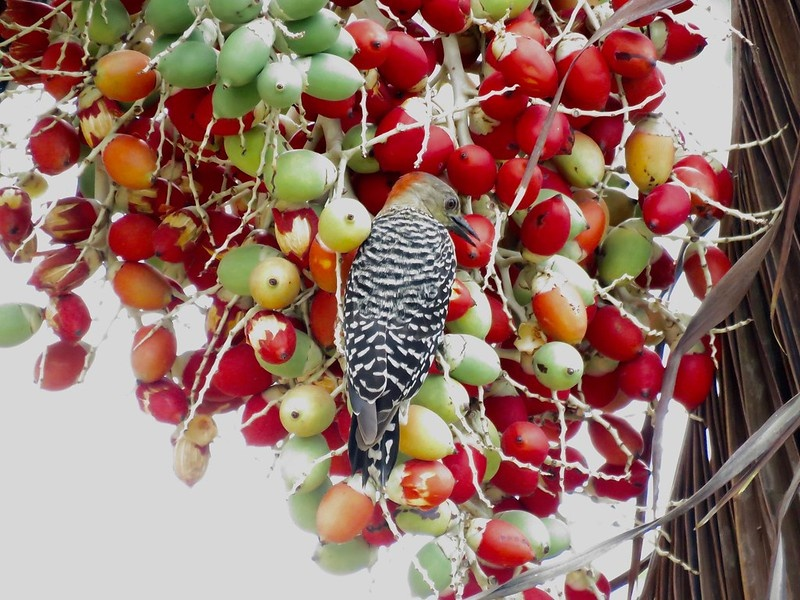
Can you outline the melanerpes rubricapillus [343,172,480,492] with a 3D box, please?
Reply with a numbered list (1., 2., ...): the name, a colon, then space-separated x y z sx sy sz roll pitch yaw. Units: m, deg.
1. melanerpes rubricapillus: 0.028 0.007 1.258 0.121 0.382 0.153 9 -15 10
